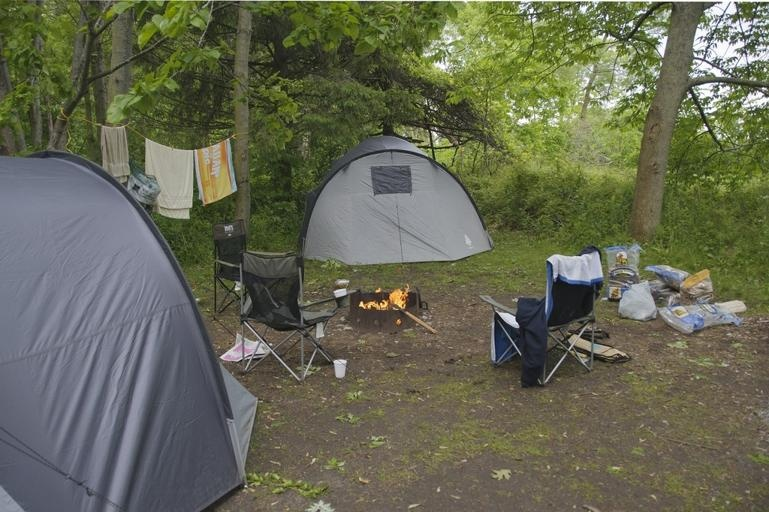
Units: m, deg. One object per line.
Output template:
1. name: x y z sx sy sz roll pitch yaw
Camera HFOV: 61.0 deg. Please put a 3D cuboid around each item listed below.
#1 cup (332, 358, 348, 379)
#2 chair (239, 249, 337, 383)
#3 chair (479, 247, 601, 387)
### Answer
1. cup: -0.546 1.418 8.273 0.208 0.180 0.192 1 5 0
2. chair: -1.211 0.722 8.567 1.430 1.579 1.384 -1 5 -19
3. chair: 2.038 0.732 8.492 1.576 1.604 1.614 0 4 31
